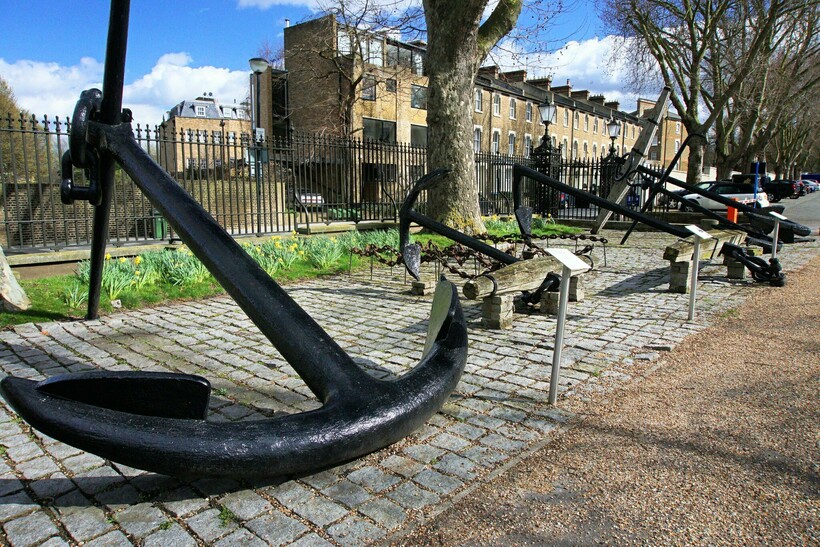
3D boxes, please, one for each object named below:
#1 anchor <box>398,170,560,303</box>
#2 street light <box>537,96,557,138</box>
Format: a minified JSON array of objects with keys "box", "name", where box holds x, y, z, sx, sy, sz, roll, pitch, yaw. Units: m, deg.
[{"box":[0.707,-0.416,8.055,2.095,0.620,1.781,32,60,19],"name":"anchor"},{"box":[5.078,-5.838,22.613,0.631,1.483,0.629,4,13,34],"name":"street light"}]
